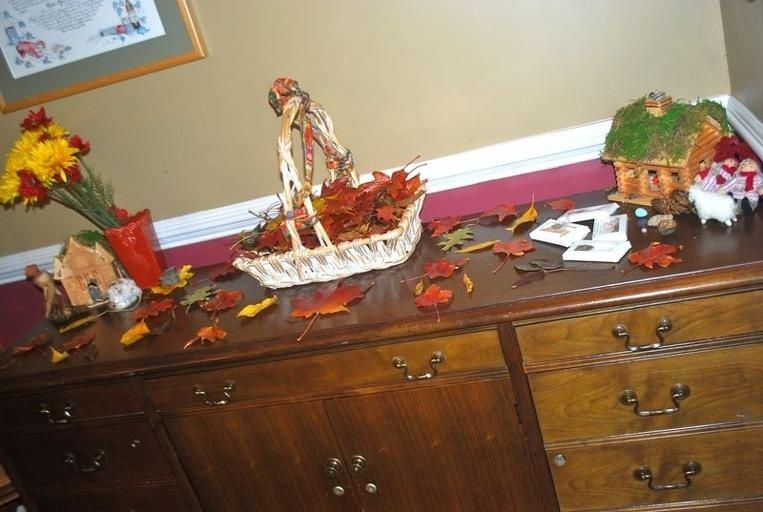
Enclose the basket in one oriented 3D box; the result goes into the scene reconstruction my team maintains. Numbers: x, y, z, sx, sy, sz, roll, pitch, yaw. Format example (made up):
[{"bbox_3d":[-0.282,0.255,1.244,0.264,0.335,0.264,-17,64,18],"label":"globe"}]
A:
[{"bbox_3d":[-0.143,-0.215,2.104,0.622,0.581,0.369,-1,26,14],"label":"basket"}]
